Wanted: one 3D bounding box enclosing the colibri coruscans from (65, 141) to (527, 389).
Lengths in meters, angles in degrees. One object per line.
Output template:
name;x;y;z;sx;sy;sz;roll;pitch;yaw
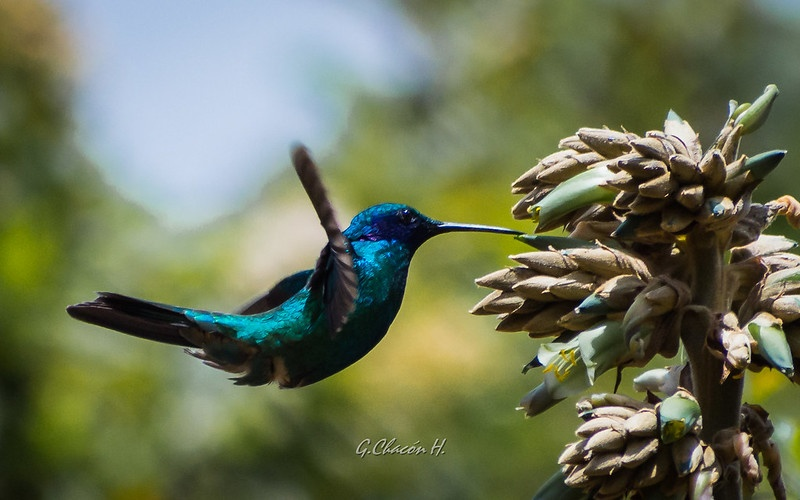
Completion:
colibri coruscans;-0.358;-0.005;3.745;0.983;0.370;0.819;5;-14;6
